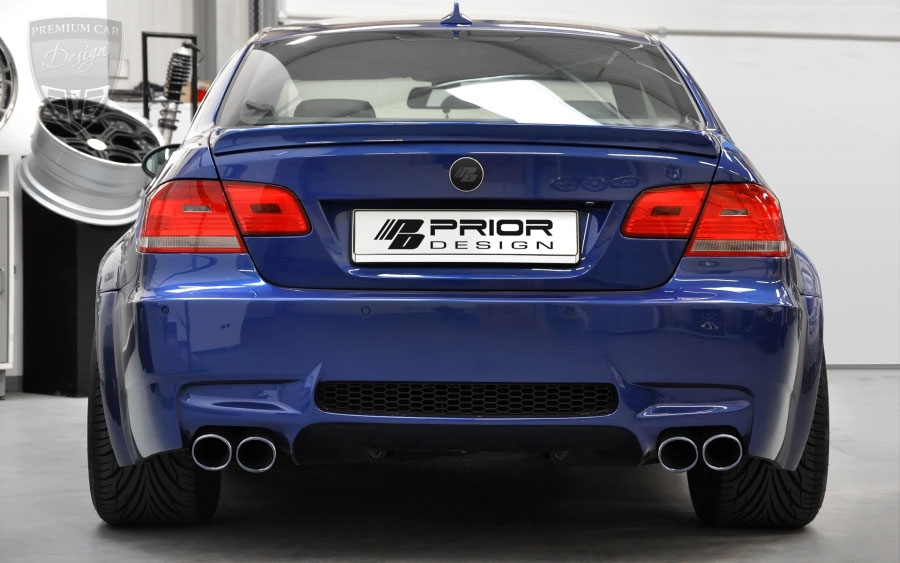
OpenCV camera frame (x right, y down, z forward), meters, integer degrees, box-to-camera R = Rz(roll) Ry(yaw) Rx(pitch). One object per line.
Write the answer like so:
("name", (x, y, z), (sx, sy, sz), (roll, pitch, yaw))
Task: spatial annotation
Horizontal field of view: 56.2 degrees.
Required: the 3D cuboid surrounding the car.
("car", (0.058, -0.200, 3.646), (1.699, 1.071, 2.563), (1, 2, 1))
